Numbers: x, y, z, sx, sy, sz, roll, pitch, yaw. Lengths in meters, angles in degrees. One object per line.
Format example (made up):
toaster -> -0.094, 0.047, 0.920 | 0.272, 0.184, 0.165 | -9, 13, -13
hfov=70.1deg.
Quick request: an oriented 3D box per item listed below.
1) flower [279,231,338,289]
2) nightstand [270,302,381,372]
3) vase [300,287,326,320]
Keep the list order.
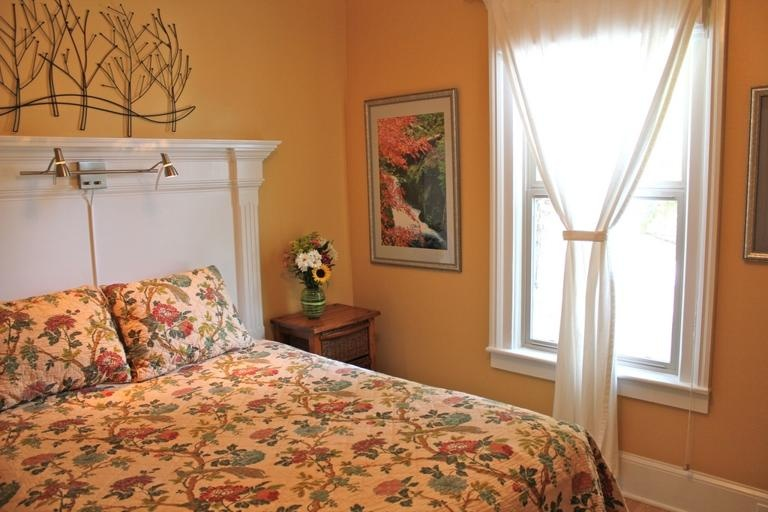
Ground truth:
flower -> -0.577, -0.009, 4.258 | 0.422, 0.433, 0.446 | 4, 13, 37
nightstand -> -0.452, 0.783, 4.349 | 0.550, 0.633, 0.696 | 6, 11, 38
vase -> -0.539, 0.357, 4.139 | 0.220, 0.256, 0.225 | 2, 5, 39
